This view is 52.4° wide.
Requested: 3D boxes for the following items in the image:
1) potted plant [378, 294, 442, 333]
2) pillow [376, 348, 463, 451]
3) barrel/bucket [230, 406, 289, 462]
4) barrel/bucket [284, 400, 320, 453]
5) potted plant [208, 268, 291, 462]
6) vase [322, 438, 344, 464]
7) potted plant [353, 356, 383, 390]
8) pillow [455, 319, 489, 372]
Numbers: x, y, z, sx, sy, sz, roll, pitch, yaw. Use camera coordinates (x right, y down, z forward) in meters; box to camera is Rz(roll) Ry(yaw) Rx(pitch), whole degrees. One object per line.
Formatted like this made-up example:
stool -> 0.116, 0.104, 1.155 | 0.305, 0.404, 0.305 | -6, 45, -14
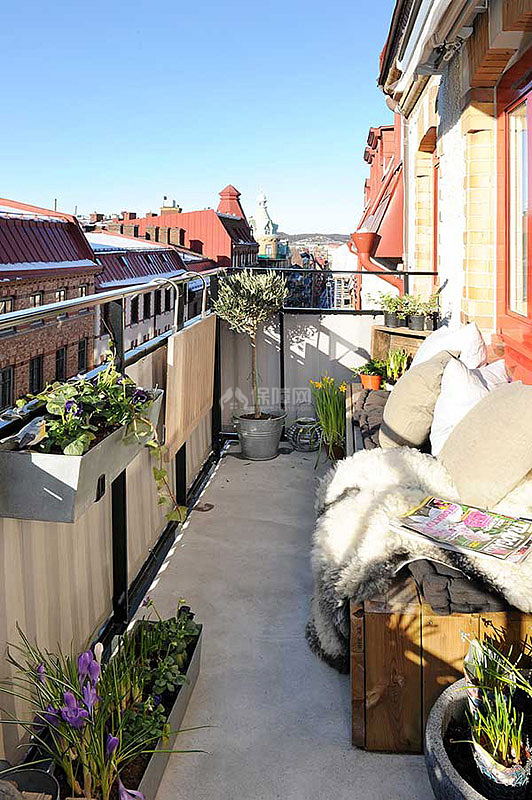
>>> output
potted plant -> 1.329, -0.816, 5.003 | 0.354, 0.376, 0.627 | -1, 4, -17
pillow -> 0.775, 0.005, 2.716 | 0.222, 0.497, 0.572 | 6, -2, 4
barrel/bucket -> -0.074, 0.326, 5.260 | 0.430, 0.356, 0.440 | -1, 1, 0
barrel/bucket -> 0.369, 0.280, 5.610 | 0.420, 0.607, 0.425 | 0, 2, 0
potted plant -> -0.130, -0.344, 5.287 | 0.668, 1.807, 0.961 | 0, 3, 3
vase -> 0.620, 0.476, 5.015 | 0.166, 0.150, 0.184 | 1, 0, -29
potted plant -> 0.905, -0.232, 4.729 | 0.229, 0.261, 0.244 | 2, 5, 22
pillow -> 1.077, -0.291, 2.930 | 0.079, 0.292, 0.264 | 7, 2, -15
